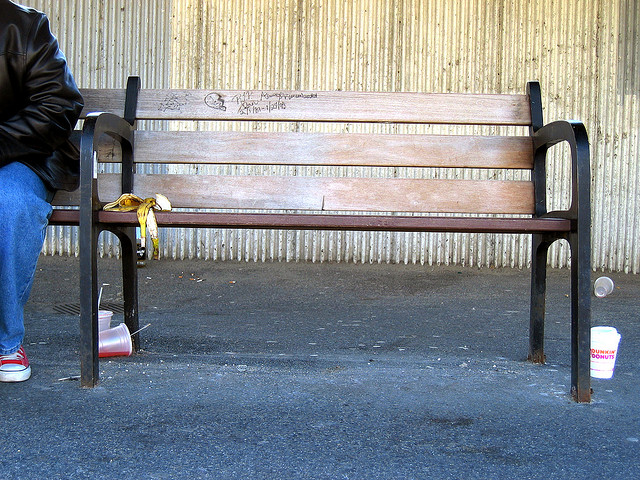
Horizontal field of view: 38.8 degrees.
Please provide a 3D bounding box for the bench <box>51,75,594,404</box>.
[{"bbox_3d":[-0.095,-0.015,4.943,2.832,1.730,1.133,1,3,-1],"label":"bench"}]

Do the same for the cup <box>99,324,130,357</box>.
[{"bbox_3d":[-1.162,0.574,5.164,0.129,0.173,0.168,-9,-18,-27],"label":"cup"}]

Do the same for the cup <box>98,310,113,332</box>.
[{"bbox_3d":[-1.235,0.470,5.237,0.107,0.099,0.108,2,0,0],"label":"cup"}]

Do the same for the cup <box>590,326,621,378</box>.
[{"bbox_3d":[1.529,0.618,4.861,0.198,0.250,0.212,3,-6,0],"label":"cup"}]
